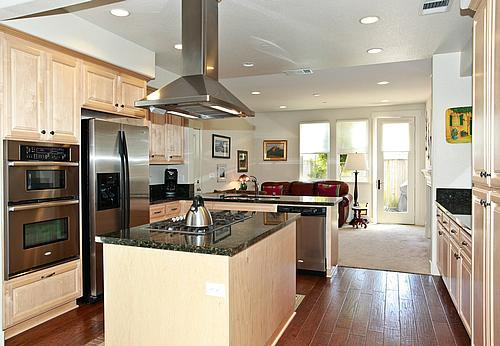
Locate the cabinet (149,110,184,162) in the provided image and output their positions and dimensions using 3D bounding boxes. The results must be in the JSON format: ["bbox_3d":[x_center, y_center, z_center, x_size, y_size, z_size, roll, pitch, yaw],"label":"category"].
[{"bbox_3d":[-1.373,-0.583,5.603,0.469,0.845,0.688,2,2,23],"label":"cabinet"}]

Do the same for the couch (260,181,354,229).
[{"bbox_3d":[1.235,0.794,8.945,2.903,0.979,0.984,-2,9,35],"label":"couch"}]

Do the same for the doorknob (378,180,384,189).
[{"bbox_3d":[3.492,0.308,9.006,0.130,0.223,0.032,0,5,2],"label":"doorknob"}]

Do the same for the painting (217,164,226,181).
[{"bbox_3d":[-0.704,-0.003,8.309,0.019,0.290,0.443,3,-2,24],"label":"painting"}]

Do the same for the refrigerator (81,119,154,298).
[{"bbox_3d":[-1.697,0.429,4.333,0.267,2.173,0.889,4,6,37],"label":"refrigerator"}]

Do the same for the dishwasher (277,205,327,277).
[{"bbox_3d":[0.813,1.006,5.018,0.628,1.030,0.069,1,5,17],"label":"dishwasher"}]

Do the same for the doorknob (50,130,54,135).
[{"bbox_3d":[-2.146,-0.438,3.657,0.060,0.050,0.017,8,-3,-33],"label":"doorknob"}]

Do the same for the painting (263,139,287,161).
[{"bbox_3d":[0.763,-0.668,9.840,0.712,0.539,0.055,1,2,18],"label":"painting"}]

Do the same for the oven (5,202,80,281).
[{"bbox_3d":[-2.257,0.660,3.742,0.640,0.787,0.885,-2,-4,25],"label":"oven"}]

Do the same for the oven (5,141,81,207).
[{"bbox_3d":[-2.216,0.025,3.684,0.588,0.725,0.847,-4,-6,29],"label":"oven"}]
